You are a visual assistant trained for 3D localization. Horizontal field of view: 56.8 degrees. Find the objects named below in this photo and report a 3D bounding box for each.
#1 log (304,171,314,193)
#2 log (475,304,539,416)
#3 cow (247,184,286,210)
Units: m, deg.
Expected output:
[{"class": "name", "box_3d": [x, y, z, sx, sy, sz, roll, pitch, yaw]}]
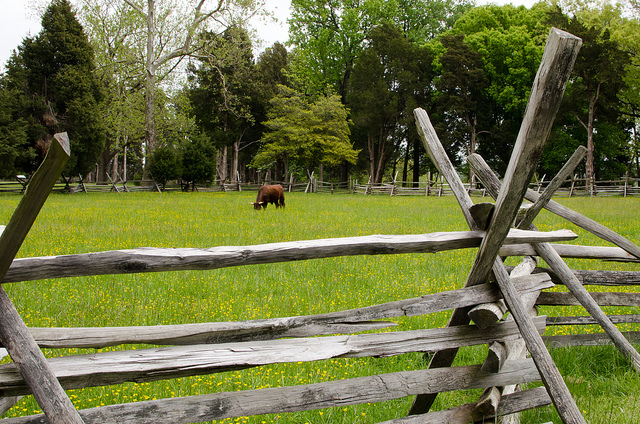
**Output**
[{"class": "log", "box_3d": [-0.848, -2.582, 50.174, 0.680, 1.775, 1.847, 3, 4, -1]}, {"class": "log", "box_3d": [3.553, 2.874, 11.292, 0.444, 2.539, 0.677, 22, -22, 49]}, {"class": "cow", "box_3d": [-2.402, -0.652, 28.314, 0.743, 1.228, 2.098, 7, 10, 41]}]
